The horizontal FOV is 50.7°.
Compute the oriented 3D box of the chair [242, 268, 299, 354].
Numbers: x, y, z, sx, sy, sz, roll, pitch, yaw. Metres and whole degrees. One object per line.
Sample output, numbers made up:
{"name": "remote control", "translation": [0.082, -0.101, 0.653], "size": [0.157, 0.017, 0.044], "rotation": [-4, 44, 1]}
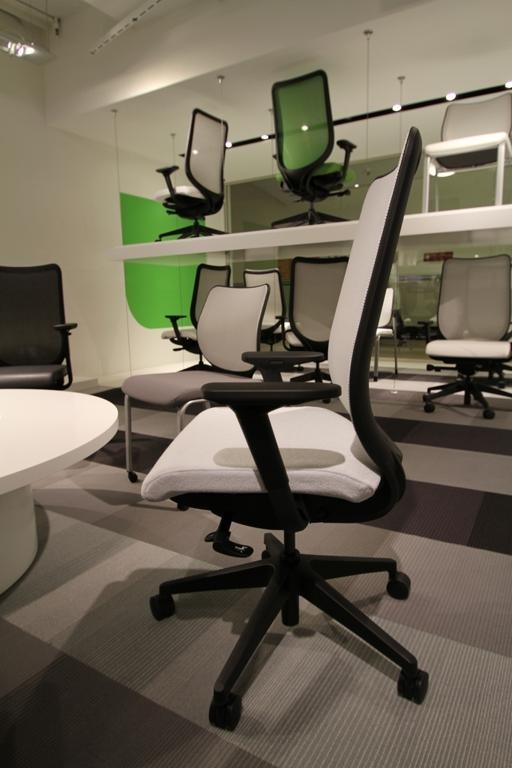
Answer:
{"name": "chair", "translation": [0.140, -0.631, 4.438], "size": [0.492, 0.810, 0.531], "rotation": [-2, 14, -3]}
